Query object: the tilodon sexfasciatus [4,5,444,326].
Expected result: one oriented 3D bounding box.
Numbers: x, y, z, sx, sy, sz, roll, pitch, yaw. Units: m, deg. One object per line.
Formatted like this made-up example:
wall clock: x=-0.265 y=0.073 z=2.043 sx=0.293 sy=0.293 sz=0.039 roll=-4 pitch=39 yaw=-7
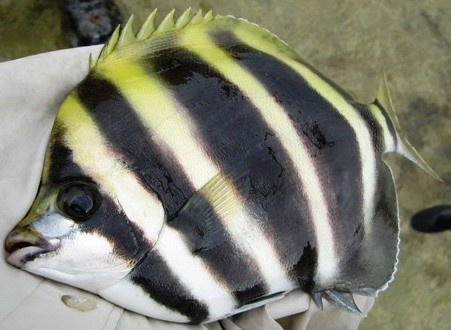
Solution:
tilodon sexfasciatus: x=0.137 y=-0.055 z=2.809 sx=1.901 sy=0.597 sz=1.392 roll=-7 pitch=98 yaw=-17
